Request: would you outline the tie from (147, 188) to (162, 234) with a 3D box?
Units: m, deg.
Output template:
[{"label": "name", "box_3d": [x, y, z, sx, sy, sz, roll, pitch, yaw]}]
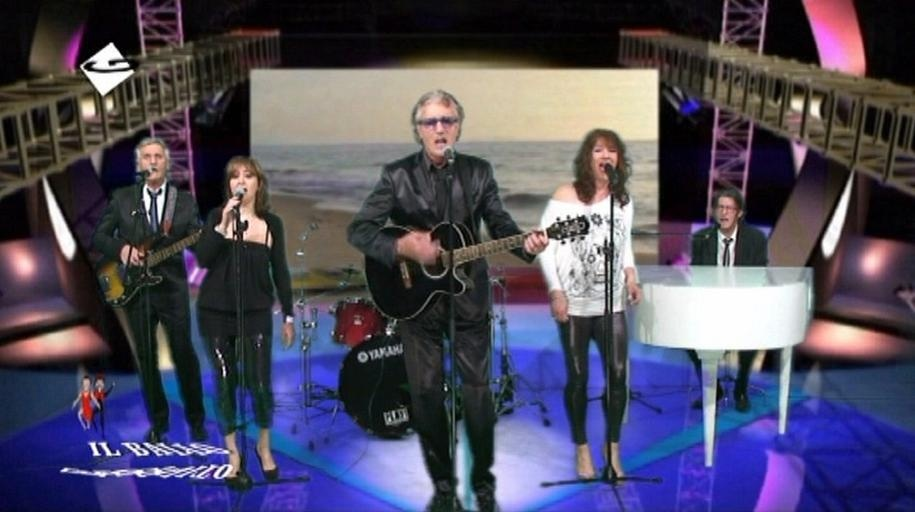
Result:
[{"label": "tie", "box_3d": [-3.004, -0.461, 7.390, 0.141, 0.346, 0.052, 0, -2, -4]}]

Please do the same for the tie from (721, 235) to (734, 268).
[{"label": "tie", "box_3d": [2.842, -0.057, 7.831, 0.108, 0.266, 0.083, 1, 11, 9]}]

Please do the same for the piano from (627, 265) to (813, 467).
[{"label": "piano", "box_3d": [2.430, 0.748, 7.266, 1.779, 1.543, 2.032, 2, 6, 14]}]

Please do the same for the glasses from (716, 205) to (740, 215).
[{"label": "glasses", "box_3d": [2.854, -0.490, 7.857, 0.240, 0.089, 0.074, 1, 11, 12]}]

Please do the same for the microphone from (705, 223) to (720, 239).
[{"label": "microphone", "box_3d": [2.689, -0.262, 7.925, 0.109, 0.036, 0.150, -29, 30, 15]}]

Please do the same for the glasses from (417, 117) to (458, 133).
[{"label": "glasses", "box_3d": [-0.183, -1.183, 6.645, 0.368, 0.101, 0.090, -1, 11, -3]}]

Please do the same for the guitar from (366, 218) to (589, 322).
[{"label": "guitar", "box_3d": [0.009, 0.124, 6.582, 1.659, 0.895, 0.503, -1, 11, -4]}]

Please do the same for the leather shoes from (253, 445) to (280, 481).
[{"label": "leather shoes", "box_3d": [-1.772, 1.946, 7.019, 0.179, 0.240, 0.263, -5, 11, -23]}]

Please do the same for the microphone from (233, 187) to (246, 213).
[{"label": "microphone", "box_3d": [-1.976, -0.524, 6.746, 0.096, 0.207, 0.430, -4, 11, -16]}]

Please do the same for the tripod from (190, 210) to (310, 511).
[{"label": "tripod", "box_3d": [-1.977, 0.811, 7.050, 0.853, 2.438, 0.715, -4, 12, -18]}]
